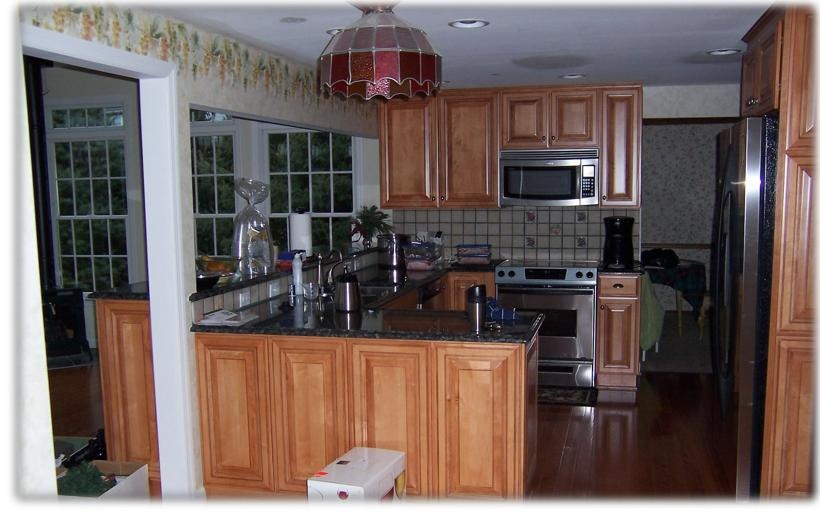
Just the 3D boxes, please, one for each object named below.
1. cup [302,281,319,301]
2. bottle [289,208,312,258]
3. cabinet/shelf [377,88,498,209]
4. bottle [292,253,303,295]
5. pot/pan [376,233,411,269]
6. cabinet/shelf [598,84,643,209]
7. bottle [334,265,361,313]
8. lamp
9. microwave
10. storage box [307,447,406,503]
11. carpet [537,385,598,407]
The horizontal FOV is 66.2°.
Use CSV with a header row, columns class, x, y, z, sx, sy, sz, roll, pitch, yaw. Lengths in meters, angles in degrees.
class,x,y,z,sx,sy,sz,roll,pitch,yaw
cup,-0.726,0.263,4.587,0.106,0.093,0.124,1,-4,-22
bottle,-0.916,-0.161,5.150,0.160,0.369,0.250,0,11,7
cabinet/shelf,0.187,-1.047,6.329,1.395,1.139,0.527,-7,13,-29
bottle,-0.819,0.142,4.568,0.071,0.292,0.078,-4,12,-14
pot/pan,-0.170,-0.038,6.190,0.326,0.314,0.378,0,0,13
cabinet/shelf,1.953,-1.002,5.817,0.356,1.085,0.135,1,12,9
bottle,-0.430,0.255,4.272,0.188,0.232,0.148,8,15,39
lamp,-0.105,-0.850,2.938,0.522,0.351,0.517,1,8,16
microwave,1.482,-0.742,6.214,1.023,0.472,0.578,5,9,36
storage box,-0.299,1.362,3.693,0.389,0.266,0.520,5,6,19
carpet,1.429,1.257,5.680,0.509,0.025,0.435,1,10,12
